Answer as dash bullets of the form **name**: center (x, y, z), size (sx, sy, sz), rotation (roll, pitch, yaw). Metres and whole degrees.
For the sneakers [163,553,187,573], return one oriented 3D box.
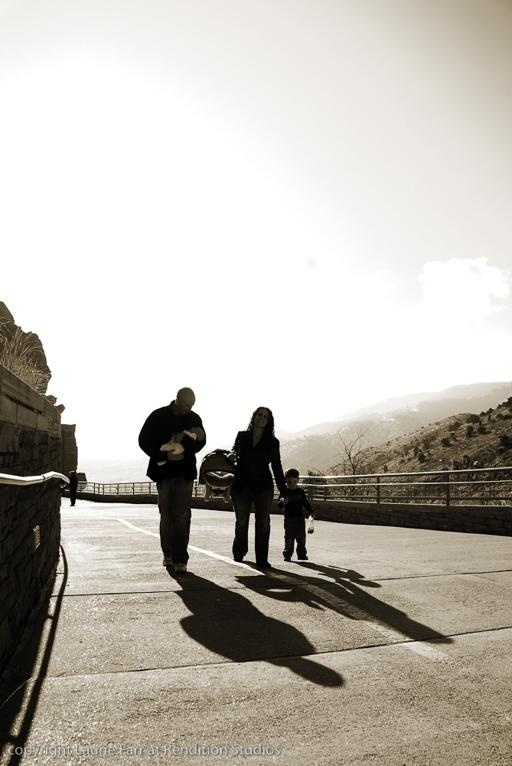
- **sneakers**: center (-0.900, 2.032, 5.850), size (0.125, 0.192, 0.419), rotation (6, -24, -16)

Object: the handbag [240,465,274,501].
- **handbag**: center (0.033, 1.230, 6.559), size (0.462, 0.521, 0.273), rotation (5, -20, 2)

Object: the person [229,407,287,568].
- **person**: center (0.015, 1.273, 6.473), size (0.653, 1.906, 0.491), rotation (-1, -5, 3)
